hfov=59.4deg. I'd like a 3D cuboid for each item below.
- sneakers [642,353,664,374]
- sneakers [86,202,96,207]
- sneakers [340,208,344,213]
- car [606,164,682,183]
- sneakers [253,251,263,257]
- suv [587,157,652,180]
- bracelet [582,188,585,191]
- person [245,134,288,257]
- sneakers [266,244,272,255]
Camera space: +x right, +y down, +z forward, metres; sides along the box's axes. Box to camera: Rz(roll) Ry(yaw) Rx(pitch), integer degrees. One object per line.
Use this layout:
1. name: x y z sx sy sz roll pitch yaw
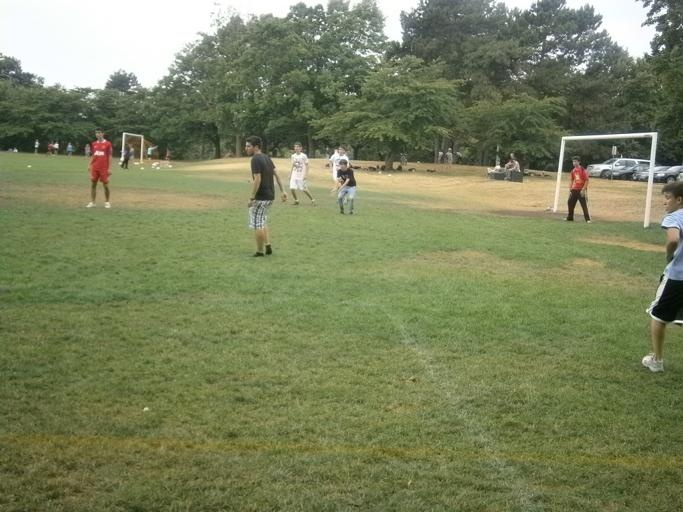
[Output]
1. sneakers: 3.787 1.311 7.367 0.132 0.159 0.313 -1 8 -4
2. sneakers: -6.398 -1.296 15.265 0.296 0.129 0.138 4 0 21
3. sneakers: 0.015 -1.320 17.585 0.079 0.149 0.141 -1 -3 6
4. car: 20.254 -5.420 39.431 1.726 1.242 5.207 2 13 -7
5. sneakers: -1.577 -0.039 11.357 0.142 0.061 0.078 3 4 23
6. suv: 19.591 -6.172 42.395 3.695 1.354 2.050 4 9 21
7. bracelet: 7.460 -2.042 18.470 0.086 0.080 0.084 -2 6 -19
8. person: -1.441 -1.112 11.305 0.707 2.241 1.276 2 13 -7
9. sneakers: -1.400 -0.110 11.543 0.112 0.176 0.180 -1 -8 -6
